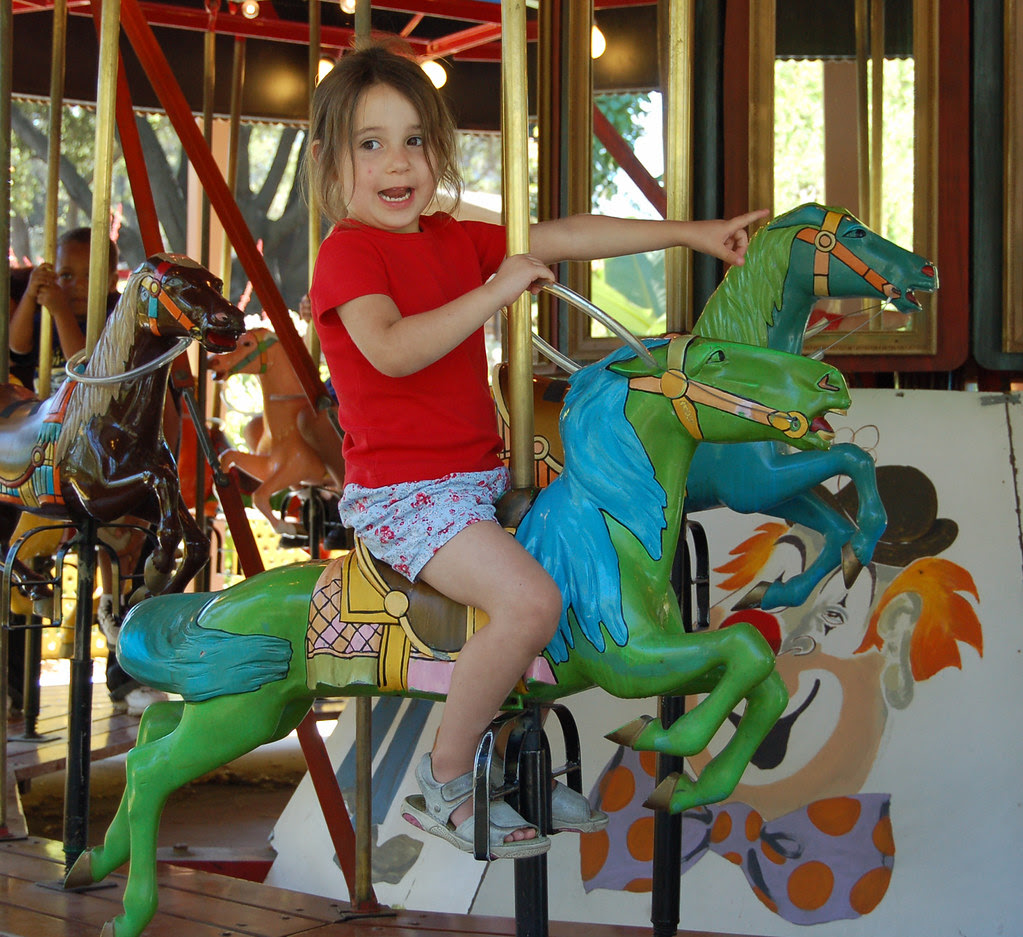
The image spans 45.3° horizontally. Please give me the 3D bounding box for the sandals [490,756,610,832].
[{"bbox_3d":[0.020,0.481,1.831,0.236,0.101,0.088,1,-2,42],"label":"sandals"}]

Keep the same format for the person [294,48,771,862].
[{"bbox_3d":[-0.122,-0.075,1.824,0.347,1.174,0.426,-1,3,-10],"label":"person"}]

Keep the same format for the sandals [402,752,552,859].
[{"bbox_3d":[-0.064,0.473,1.741,0.242,0.115,0.099,16,15,28],"label":"sandals"}]
